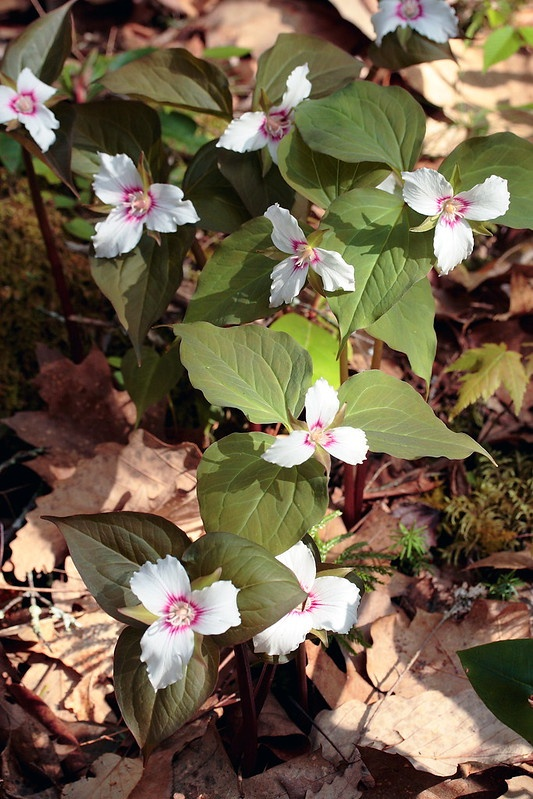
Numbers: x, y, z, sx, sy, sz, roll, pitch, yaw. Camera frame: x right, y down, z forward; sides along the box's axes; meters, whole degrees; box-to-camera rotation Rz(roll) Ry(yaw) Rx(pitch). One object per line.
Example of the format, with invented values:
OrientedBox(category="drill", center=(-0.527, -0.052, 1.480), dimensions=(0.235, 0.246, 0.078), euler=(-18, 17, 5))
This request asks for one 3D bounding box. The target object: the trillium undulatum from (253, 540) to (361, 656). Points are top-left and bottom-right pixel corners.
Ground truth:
OrientedBox(category="trillium undulatum", center=(0.102, 0.539, 1.595), dimensions=(0.219, 0.301, 0.227), euler=(14, 37, 14))

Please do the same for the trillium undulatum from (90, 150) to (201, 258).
OrientedBox(category="trillium undulatum", center=(-0.331, -0.530, 1.725), dimensions=(0.310, 0.249, 0.094), euler=(6, -4, -26))

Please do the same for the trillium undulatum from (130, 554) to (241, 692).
OrientedBox(category="trillium undulatum", center=(-0.173, 0.468, 1.401), dimensions=(0.212, 0.209, 0.185), euler=(-7, 37, -15))

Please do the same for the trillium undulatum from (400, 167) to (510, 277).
OrientedBox(category="trillium undulatum", center=(0.480, -0.443, 1.594), dimensions=(0.324, 0.232, 0.169), euler=(-4, 37, -11))

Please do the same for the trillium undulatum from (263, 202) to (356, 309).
OrientedBox(category="trillium undulatum", center=(0.074, -0.329, 1.622), dimensions=(0.200, 0.269, 0.082), euler=(7, -4, -21))

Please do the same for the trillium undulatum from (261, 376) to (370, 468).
OrientedBox(category="trillium undulatum", center=(0.106, 0.061, 1.507), dimensions=(0.269, 0.176, 0.142), euler=(-7, 37, -15))
